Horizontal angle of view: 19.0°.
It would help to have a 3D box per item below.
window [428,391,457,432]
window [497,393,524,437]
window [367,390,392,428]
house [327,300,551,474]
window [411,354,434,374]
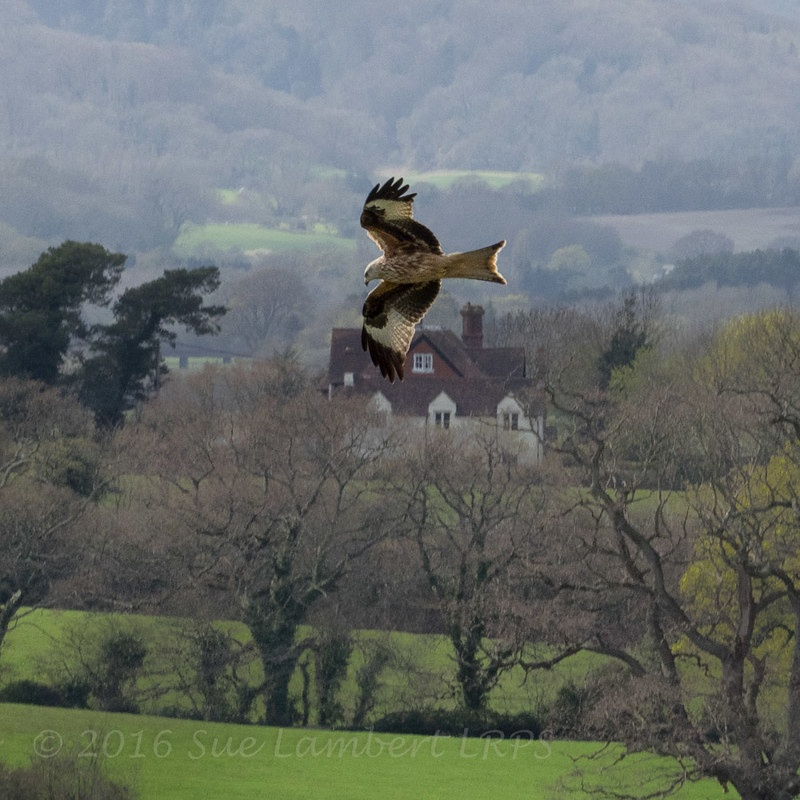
[{"bbox_3d":[2.683,1.010,149.185,1.841,3.252,1.594,-1,-23,3],"label":"window"},{"bbox_3d":[6.899,0.800,147.568,1.492,3.227,1.797,1,-10,2],"label":"window"},{"bbox_3d":[-1.261,0.726,148.994,1.439,2.926,1.752,1,-30,2],"label":"window"},{"bbox_3d":[3.094,-0.516,151.361,9.139,7.883,10.858,0,0,5],"label":"house"},{"bbox_3d":[1.540,-2.254,152.642,0.879,1.148,0.081,1,2,19],"label":"window"}]
